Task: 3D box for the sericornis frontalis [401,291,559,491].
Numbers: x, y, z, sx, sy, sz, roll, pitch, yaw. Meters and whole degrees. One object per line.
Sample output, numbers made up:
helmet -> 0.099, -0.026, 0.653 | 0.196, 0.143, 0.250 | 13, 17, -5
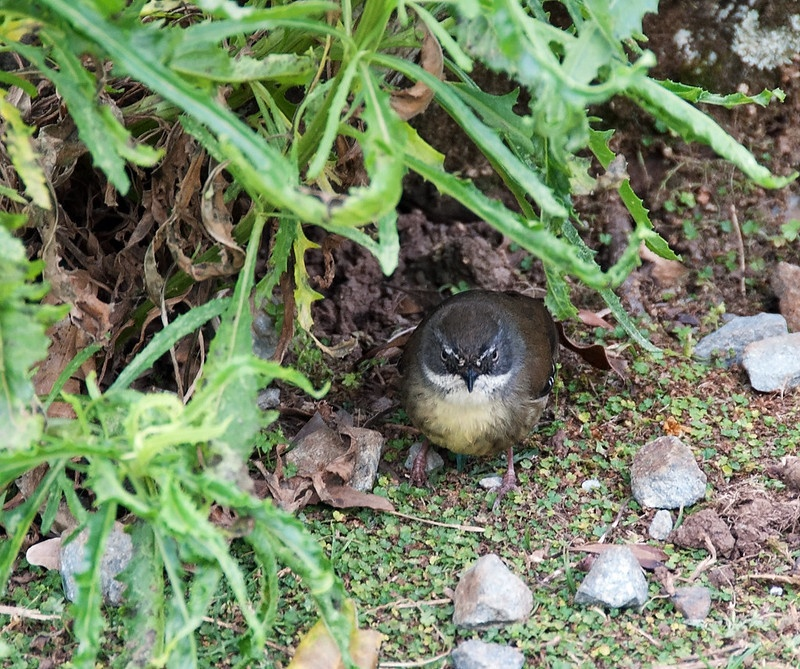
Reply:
sericornis frontalis -> 0.497, 0.265, 4.628 | 0.664, 0.793, 1.197 | 7, 59, 12
